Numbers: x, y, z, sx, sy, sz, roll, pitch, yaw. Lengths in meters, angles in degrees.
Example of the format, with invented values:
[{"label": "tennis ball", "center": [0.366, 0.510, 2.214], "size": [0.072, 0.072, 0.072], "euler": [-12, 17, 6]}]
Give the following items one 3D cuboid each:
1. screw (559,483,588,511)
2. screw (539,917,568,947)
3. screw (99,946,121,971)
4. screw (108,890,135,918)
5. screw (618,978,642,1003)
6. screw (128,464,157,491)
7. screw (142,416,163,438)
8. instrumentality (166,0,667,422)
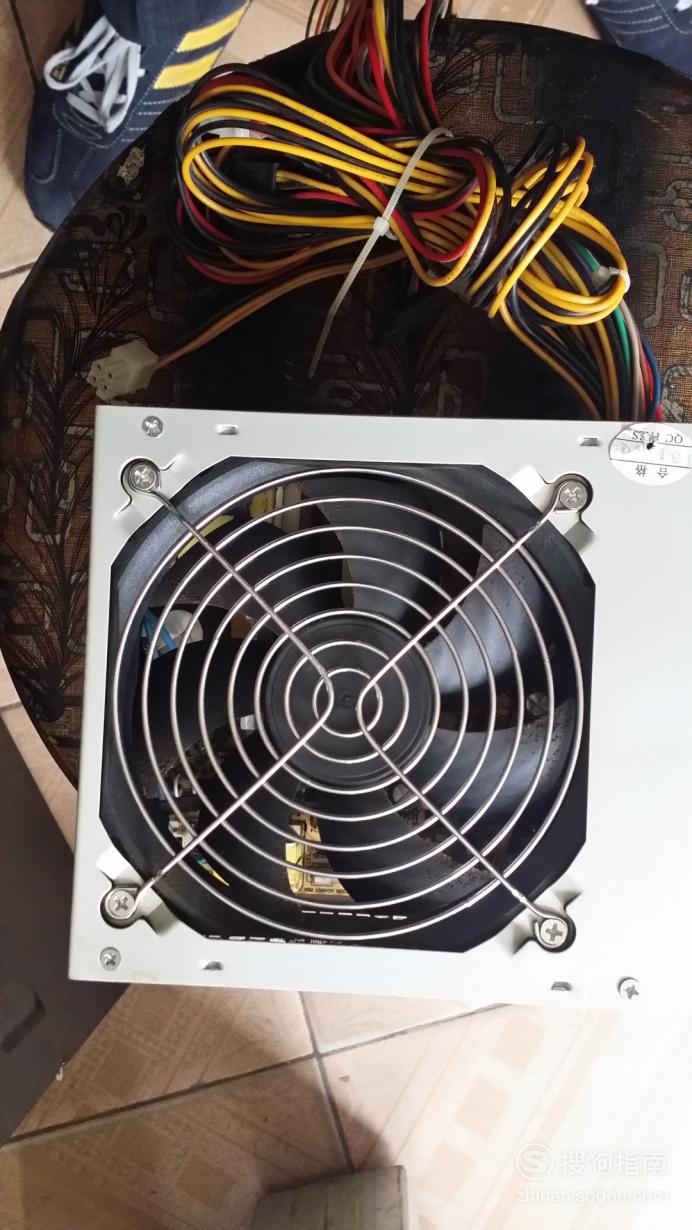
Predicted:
[{"label": "screw", "center": [0.345, -0.181, 1.482], "size": [0.044, 0.034, 0.030], "euler": [13, 44, 15]}, {"label": "screw", "center": [0.309, 0.476, 1.465], "size": [0.040, 0.034, 0.029], "euler": [-1, 42, 0]}, {"label": "screw", "center": [-0.354, 0.518, 1.474], "size": [0.029, 0.025, 0.024], "euler": [-1, 42, 1]}, {"label": "screw", "center": [-0.338, 0.434, 1.477], "size": [0.039, 0.009, 0.041], "euler": [32, 92, 4]}, {"label": "screw", "center": [0.421, 0.559, 1.461], "size": [0.033, 0.023, 0.028], "euler": [5, 43, 7]}, {"label": "screw", "center": [-0.306, -0.209, 1.479], "size": [0.047, 0.033, 0.031], "euler": [-6, 42, -5]}, {"label": "screw", "center": [-0.290, -0.285, 1.472], "size": [0.029, 0.025, 0.019], "euler": [-2, 42, 0]}, {"label": "instrumentality", "center": [0.099, -0.622, 1.581], "size": [0.870, 0.632, 0.392], "euler": [12, 43, 15]}]
